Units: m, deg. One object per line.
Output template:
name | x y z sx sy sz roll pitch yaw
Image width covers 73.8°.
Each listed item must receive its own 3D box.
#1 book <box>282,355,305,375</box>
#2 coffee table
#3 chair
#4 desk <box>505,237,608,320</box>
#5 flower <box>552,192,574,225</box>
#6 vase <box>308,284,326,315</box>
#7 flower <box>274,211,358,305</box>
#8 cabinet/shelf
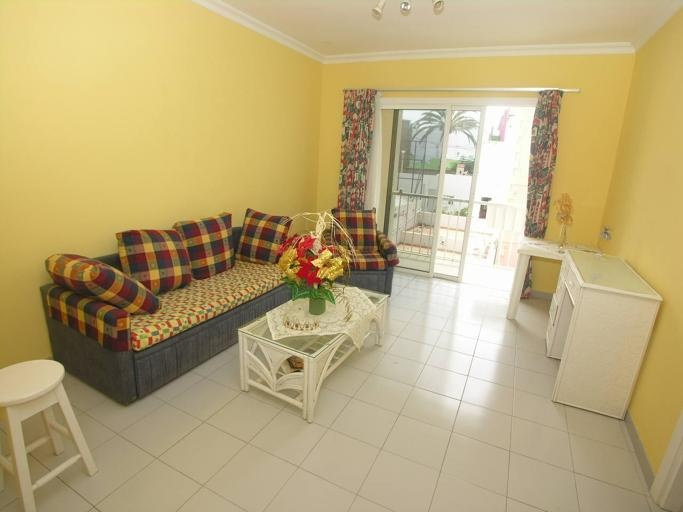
book | -0.411 0.930 3.830 0.162 0.056 0.171 6 11 10
coffee table | -0.183 0.787 4.133 0.723 0.607 1.356 14 23 30
chair | 0.270 0.021 5.353 0.630 0.688 0.644 3 20 6
desk | 2.304 0.242 5.000 0.810 0.829 0.847 10 23 20
flower | 2.434 -0.511 4.991 0.198 0.326 0.274 14 20 30
vase | -0.206 0.381 3.806 0.202 0.247 0.212 0 15 2
flower | -0.329 0.168 3.895 0.472 0.663 0.502 -13 4 -16
cabinet/shelf | 2.128 0.670 3.654 0.463 0.987 1.008 13 24 20
